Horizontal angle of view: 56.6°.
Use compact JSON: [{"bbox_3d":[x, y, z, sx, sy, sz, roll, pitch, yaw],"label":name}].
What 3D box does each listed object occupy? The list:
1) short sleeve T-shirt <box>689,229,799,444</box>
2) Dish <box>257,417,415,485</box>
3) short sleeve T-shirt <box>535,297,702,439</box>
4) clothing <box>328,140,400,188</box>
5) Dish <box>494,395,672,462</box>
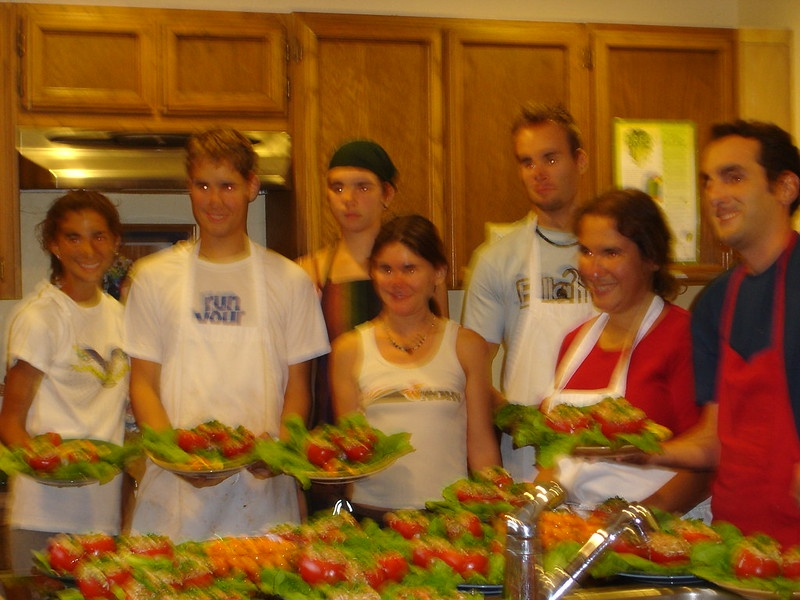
[{"bbox_3d":[0.886,0.078,1.908,0.121,0.483,0.281,1,-10,-9],"label":"short sleeve T-shirt"},{"bbox_3d":[-0.178,0.373,1.807,0.218,0.071,0.219,-2,2,39],"label":"Dish"},{"bbox_3d":[0.625,0.218,2.086,0.246,0.410,0.434,-18,19,-40],"label":"short sleeve T-shirt"},{"bbox_3d":[-0.150,-0.474,2.523,0.232,0.166,0.201,0,4,3],"label":"clothing"},{"bbox_3d":[0.436,0.307,1.823,0.443,0.126,0.413,-2,3,26],"label":"Dish"}]
